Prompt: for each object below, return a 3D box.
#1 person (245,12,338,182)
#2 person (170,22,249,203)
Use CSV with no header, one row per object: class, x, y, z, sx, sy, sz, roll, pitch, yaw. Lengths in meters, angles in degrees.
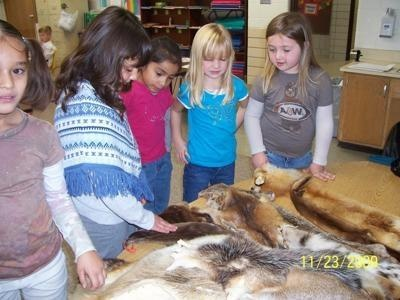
person,0.529,-0.314,1.921,0.541,0.941,0.396,5,20,13
person,0.092,-0.037,2.237,0.505,1.560,0.297,-8,29,-17
